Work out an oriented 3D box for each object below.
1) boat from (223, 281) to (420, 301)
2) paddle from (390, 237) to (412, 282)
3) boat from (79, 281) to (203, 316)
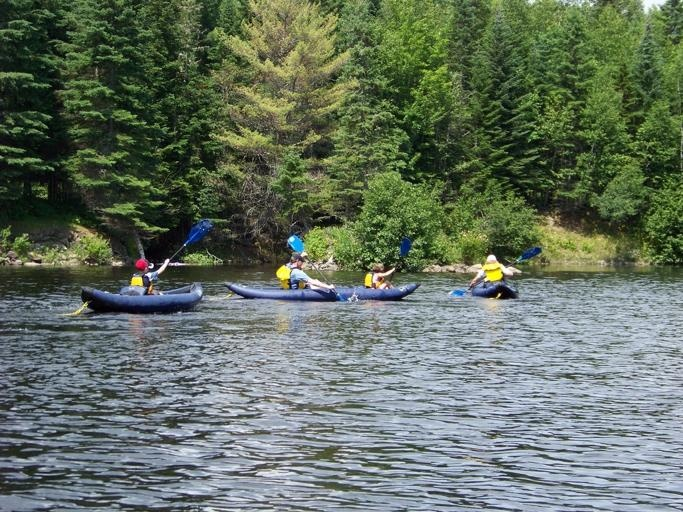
[{"bbox_3d":[-0.708,1.559,39.358,7.670,0.649,1.894,1,6,-12],"label":"boat"},{"bbox_3d":[2.988,0.116,53.147,0.532,2.686,0.396,35,4,13],"label":"paddle"},{"bbox_3d":[-6.599,1.500,35.532,4.226,0.869,3.041,-2,4,-38],"label":"boat"}]
